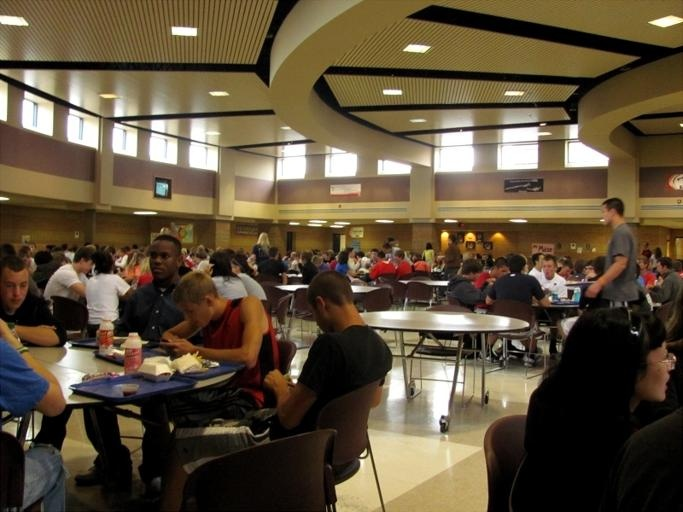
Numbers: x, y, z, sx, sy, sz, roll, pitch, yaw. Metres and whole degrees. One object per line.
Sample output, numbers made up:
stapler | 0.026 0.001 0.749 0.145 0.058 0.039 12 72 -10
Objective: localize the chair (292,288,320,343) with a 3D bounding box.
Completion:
chair | -0.482 0.800 6.932 0.300 0.494 0.325 3 13 -40

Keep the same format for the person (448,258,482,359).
person | 1.559 0.574 6.392 0.432 1.131 0.525 -6 23 6

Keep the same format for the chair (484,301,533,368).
chair | 1.834 0.797 5.616 0.442 0.668 0.521 2 1 39

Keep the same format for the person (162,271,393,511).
person | -0.120 0.765 2.809 1.121 1.452 0.643 2 -21 20

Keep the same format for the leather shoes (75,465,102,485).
leather shoes | -1.478 1.294 3.110 0.069 0.078 0.180 1 -10 11

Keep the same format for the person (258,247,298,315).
person | -1.221 0.572 9.321 0.520 1.542 0.478 9 18 12

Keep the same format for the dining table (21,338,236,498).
dining table | -1.277 0.964 2.869 1.139 0.318 0.825 4 -6 20

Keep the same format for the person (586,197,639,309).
person | 2.424 -0.049 4.639 0.389 0.809 0.481 3 -1 30

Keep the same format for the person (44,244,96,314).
person | -2.739 0.241 5.313 0.437 0.914 0.331 9 18 -39

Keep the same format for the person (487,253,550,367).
person | 2.030 0.538 6.051 0.581 1.113 0.551 10 18 43

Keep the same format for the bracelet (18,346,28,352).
bracelet | -1.245 0.363 2.054 0.034 0.024 0.040 2 -8 -7

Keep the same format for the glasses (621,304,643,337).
glasses | 0.925 0.206 1.692 0.054 0.073 0.026 4 -26 -31

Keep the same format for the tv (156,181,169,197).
tv | -5.308 -1.990 15.597 0.096 0.398 0.418 0 -3 31

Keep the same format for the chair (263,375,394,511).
chair | -0.028 0.801 2.562 0.511 0.738 0.483 -2 -3 33

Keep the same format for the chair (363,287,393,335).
chair | 0.521 0.624 7.454 0.331 0.496 0.352 -1 8 -13

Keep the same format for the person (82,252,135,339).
person | -2.072 0.373 4.707 0.386 0.849 0.434 4 6 13
